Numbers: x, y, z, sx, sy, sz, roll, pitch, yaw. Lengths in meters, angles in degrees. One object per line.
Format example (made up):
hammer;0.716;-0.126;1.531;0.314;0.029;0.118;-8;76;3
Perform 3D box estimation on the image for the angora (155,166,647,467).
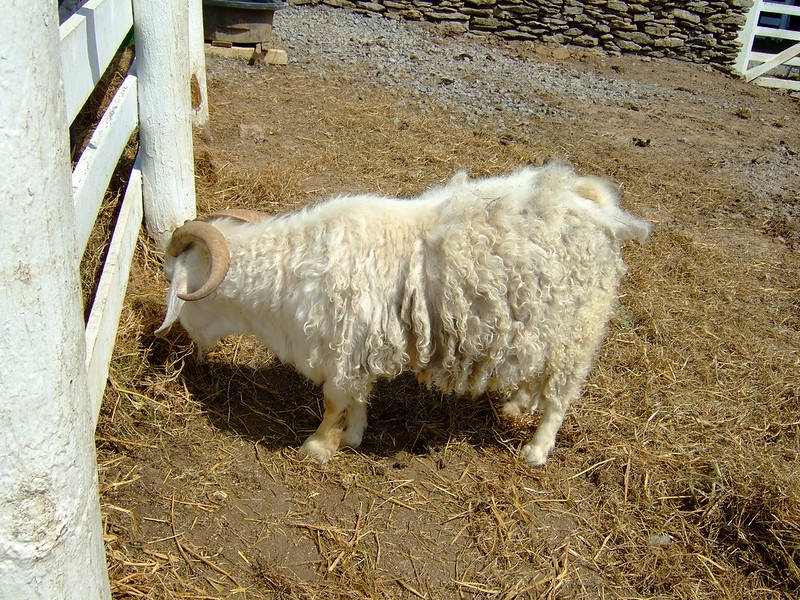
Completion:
angora;-0.037;0.076;4.032;2.576;1.592;1.181;-1;17;2
